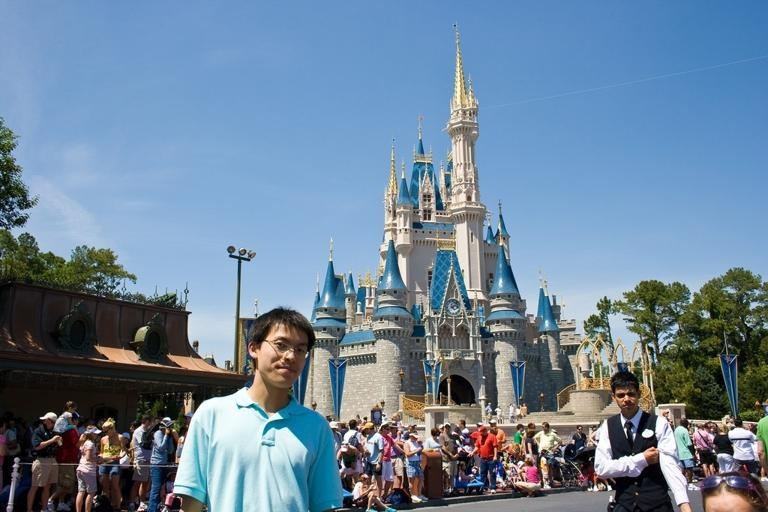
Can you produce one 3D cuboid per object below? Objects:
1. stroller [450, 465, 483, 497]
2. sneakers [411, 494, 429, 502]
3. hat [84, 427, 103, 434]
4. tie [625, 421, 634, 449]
[{"bbox_3d":[2.381,6.551,20.087,0.659,0.699,0.772,13,-28,-29],"label":"stroller"},{"bbox_3d":[0.927,6.344,18.076,0.431,0.193,0.161,-3,-15,17],"label":"sneakers"},{"bbox_3d":[-6.515,3.888,15.359,0.371,0.138,0.250,-2,-11,5],"label":"hat"},{"bbox_3d":[3.489,2.539,9.800,0.092,0.371,0.081,2,-23,-4],"label":"tie"}]
